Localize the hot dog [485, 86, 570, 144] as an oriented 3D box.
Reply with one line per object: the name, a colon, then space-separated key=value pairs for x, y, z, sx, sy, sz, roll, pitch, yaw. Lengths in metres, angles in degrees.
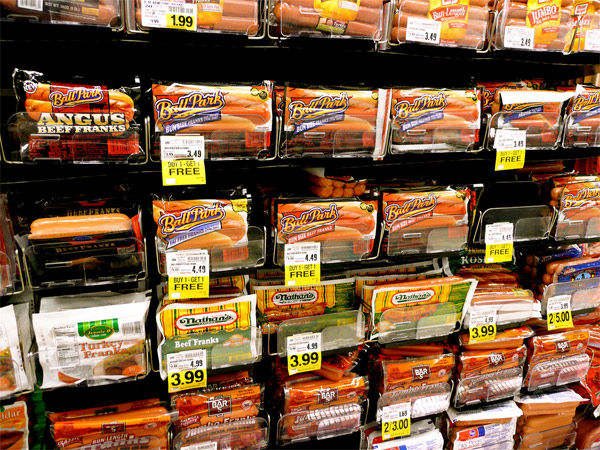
hot dog: x=1.297 y=-0.576 z=2.699 sx=0.426 sy=0.301 sz=0.284 roll=6 pitch=9 yaw=37

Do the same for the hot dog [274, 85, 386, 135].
hot dog: x=0.166 y=-0.529 z=2.346 sx=0.513 sy=0.302 sz=0.052 roll=0 pitch=-15 yaw=-3
